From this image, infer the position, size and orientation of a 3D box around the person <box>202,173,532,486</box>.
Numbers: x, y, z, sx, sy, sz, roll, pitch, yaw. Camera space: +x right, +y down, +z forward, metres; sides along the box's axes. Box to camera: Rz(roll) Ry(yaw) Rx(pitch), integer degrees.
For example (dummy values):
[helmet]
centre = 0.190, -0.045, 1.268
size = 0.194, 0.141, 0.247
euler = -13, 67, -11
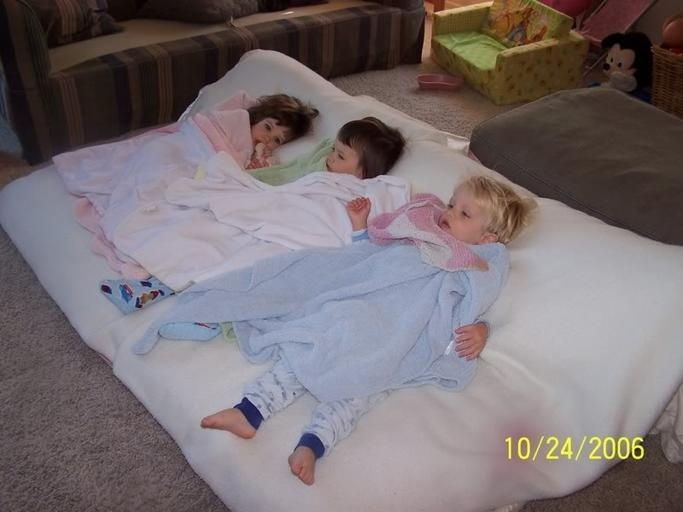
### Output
[person]
centre = 0.191, 0.202, 1.660
size = 0.657, 0.329, 1.086
euler = 39, 89, 33
